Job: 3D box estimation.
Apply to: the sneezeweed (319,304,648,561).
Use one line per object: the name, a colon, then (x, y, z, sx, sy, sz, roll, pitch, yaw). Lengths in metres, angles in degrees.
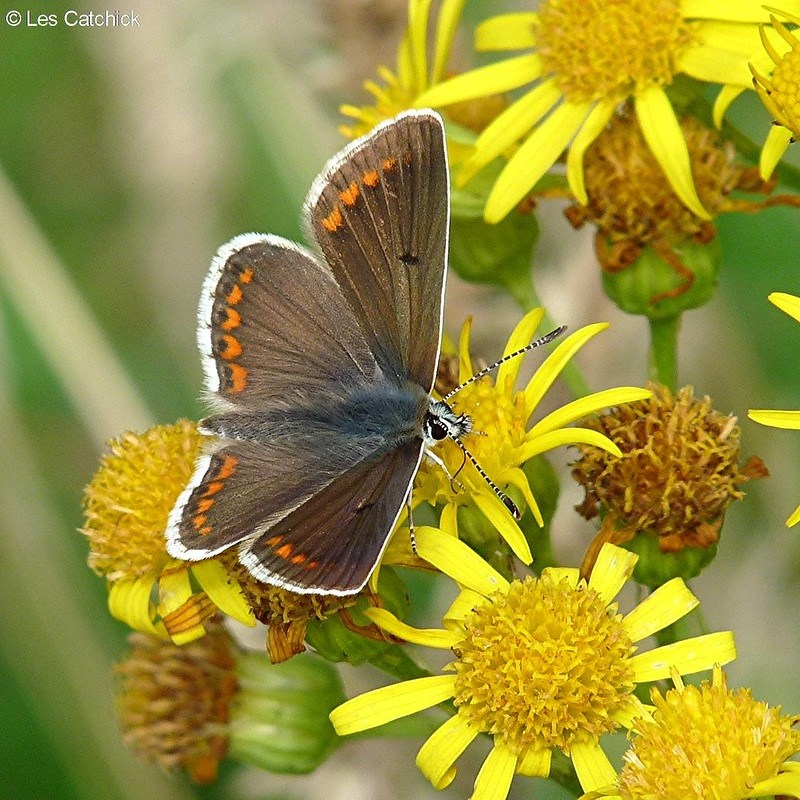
sneezeweed: (0.205, 0.134, 2.096, 0.532, 0.205, 0.577, -35, 49, 27)

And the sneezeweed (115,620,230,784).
sneezeweed: (-0.520, 0.701, 2.211, 0.314, 0.190, 0.301, -9, 44, 7)

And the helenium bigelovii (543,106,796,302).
helenium bigelovii: (0.579, -0.446, 2.132, 0.438, 0.431, 0.175, -53, 17, 22)

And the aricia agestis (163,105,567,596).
aricia agestis: (-0.177, -0.093, 1.854, 0.591, 0.545, 0.778, -5, 45, 11)

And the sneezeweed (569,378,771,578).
sneezeweed: (0.576, 0.191, 2.068, 0.403, 0.386, 0.432, -20, 47, 31)

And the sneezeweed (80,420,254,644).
sneezeweed: (-0.565, 0.283, 1.980, 0.421, 0.171, 0.453, 10, 94, 34)
